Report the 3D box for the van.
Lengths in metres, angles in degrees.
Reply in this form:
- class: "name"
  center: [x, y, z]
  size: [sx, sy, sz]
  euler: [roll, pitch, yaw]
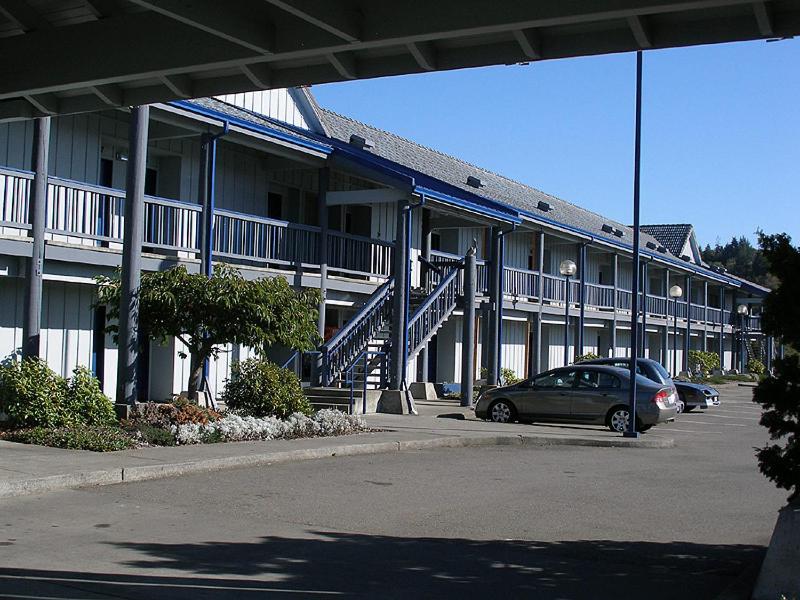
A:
- class: "van"
  center: [5.321, 2.391, 22.618]
  size: [3.610, 1.744, 1.754]
  euler: [2, -2, 19]
